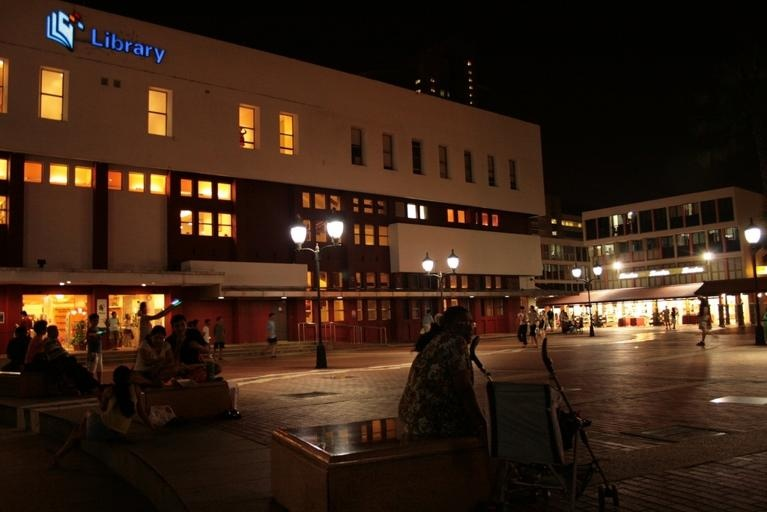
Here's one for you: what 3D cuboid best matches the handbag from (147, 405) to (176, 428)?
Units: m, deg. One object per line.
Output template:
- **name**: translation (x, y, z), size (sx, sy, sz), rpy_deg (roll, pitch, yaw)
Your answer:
- **handbag**: translation (-4.990, 3.600, 14.490), size (0.612, 0.456, 0.362), rpy_deg (0, -6, -20)
